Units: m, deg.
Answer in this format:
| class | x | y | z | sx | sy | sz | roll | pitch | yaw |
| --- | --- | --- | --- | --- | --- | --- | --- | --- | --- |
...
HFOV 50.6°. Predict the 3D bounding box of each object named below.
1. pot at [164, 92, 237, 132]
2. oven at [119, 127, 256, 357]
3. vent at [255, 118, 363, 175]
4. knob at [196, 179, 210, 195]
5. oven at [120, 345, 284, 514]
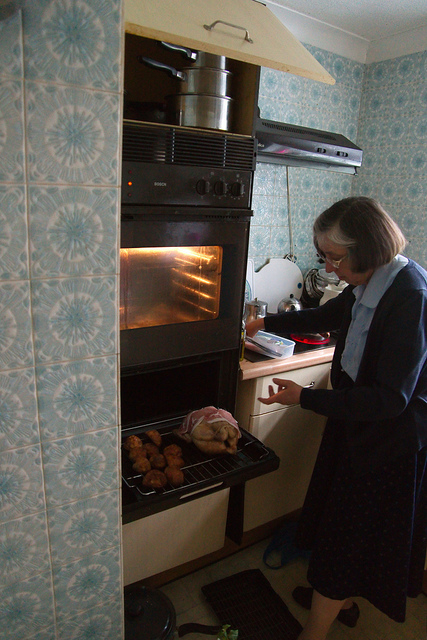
| class | x | y | z | sx | sy | sz | roll | pitch | yaw |
| --- | --- | --- | --- | --- | --- | --- | --- | --- | --- |
| pot | -0.041 | -0.584 | 1.286 | 0.217 | 0.088 | 0.224 | 2 | 18 | -1 |
| oven | -0.045 | -0.160 | 1.311 | 0.405 | 0.550 | 0.328 | -2 | -9 | 26 |
| vent | 0.362 | -0.788 | 2.027 | 0.550 | 0.158 | 0.415 | -2 | 26 | -25 |
| knob | -0.030 | -0.351 | 1.193 | 0.035 | 0.038 | 0.009 | -1 | 13 | -36 |
| oven | -0.100 | 0.269 | 1.309 | 0.459 | 0.432 | 0.332 | -9 | 31 | -23 |
